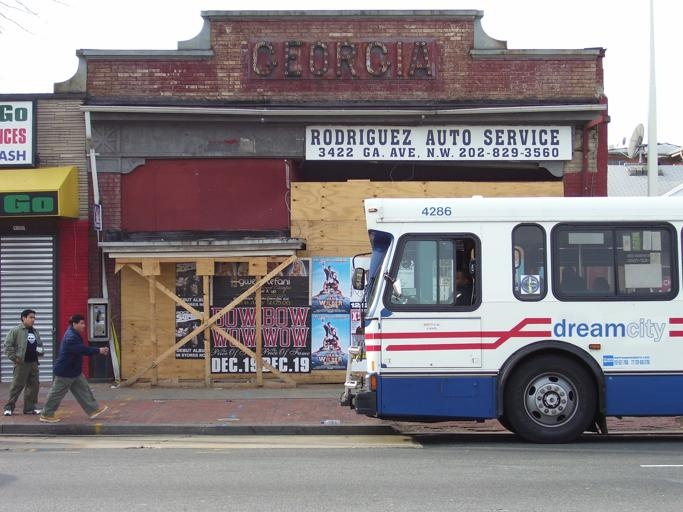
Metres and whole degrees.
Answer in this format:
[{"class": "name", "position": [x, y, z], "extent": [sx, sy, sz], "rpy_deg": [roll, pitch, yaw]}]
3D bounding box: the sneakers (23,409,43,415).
[{"class": "sneakers", "position": [-6.078, 3.058, 27.486], "extent": [0.354, 0.143, 0.127], "rpy_deg": [-3, -2, -1]}]

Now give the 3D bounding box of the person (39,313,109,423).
[{"class": "person", "position": [-5.175, 2.127, 26.835], "extent": [1.178, 2.070, 0.924], "rpy_deg": [2, -5, -12]}]

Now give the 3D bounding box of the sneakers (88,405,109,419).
[{"class": "sneakers", "position": [-4.731, 3.007, 26.956], "extent": [0.421, 0.190, 0.154], "rpy_deg": [-32, 0, 3]}]

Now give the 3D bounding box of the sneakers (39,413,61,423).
[{"class": "sneakers", "position": [-5.605, 3.099, 26.804], "extent": [0.428, 0.176, 0.155], "rpy_deg": [2, -5, -7]}]

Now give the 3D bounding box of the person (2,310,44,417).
[{"class": "person", "position": [-6.323, 2.081, 27.662], "extent": [0.717, 2.104, 0.581], "rpy_deg": [2, -5, -14]}]
